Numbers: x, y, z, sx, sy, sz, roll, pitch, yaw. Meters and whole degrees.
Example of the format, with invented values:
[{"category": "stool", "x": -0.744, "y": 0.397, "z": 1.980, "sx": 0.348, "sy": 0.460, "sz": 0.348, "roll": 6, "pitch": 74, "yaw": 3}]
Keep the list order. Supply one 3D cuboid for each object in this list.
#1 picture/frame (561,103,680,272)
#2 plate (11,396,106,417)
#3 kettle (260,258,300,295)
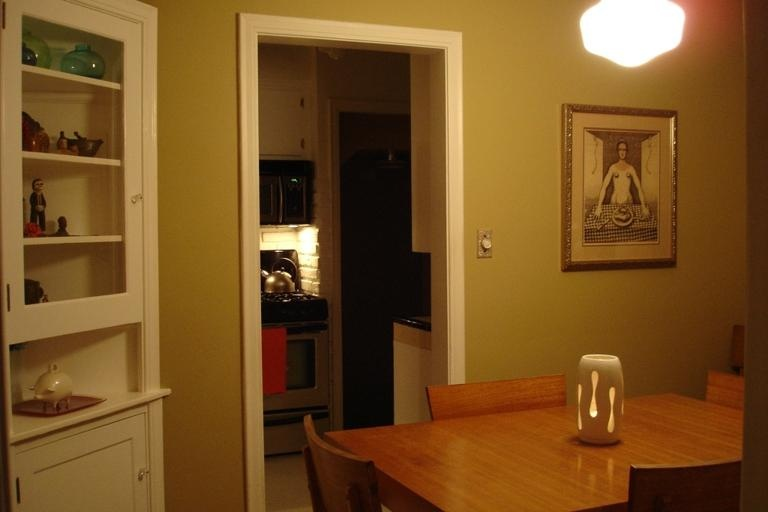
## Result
[{"category": "picture/frame", "x": 1.350, "y": -0.402, "z": 3.663, "sx": 0.941, "sy": 1.057, "sz": 0.073, "roll": 1, "pitch": -2, "yaw": -19}, {"category": "plate", "x": -1.353, "y": 0.618, "z": 2.633, "sx": 0.343, "sy": 0.063, "sz": 0.197, "roll": -3, "pitch": 5, "yaw": -32}, {"category": "kettle", "x": -0.855, "y": 0.187, "z": 5.315, "sx": 0.315, "sy": 0.288, "sz": 0.238, "roll": 3, "pitch": -4, "yaw": -32}]
